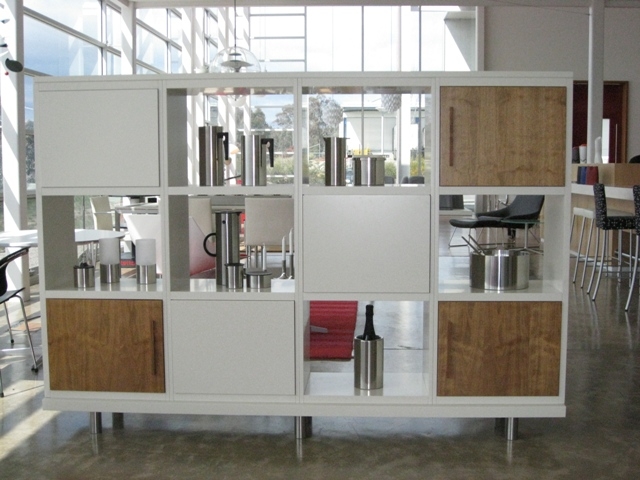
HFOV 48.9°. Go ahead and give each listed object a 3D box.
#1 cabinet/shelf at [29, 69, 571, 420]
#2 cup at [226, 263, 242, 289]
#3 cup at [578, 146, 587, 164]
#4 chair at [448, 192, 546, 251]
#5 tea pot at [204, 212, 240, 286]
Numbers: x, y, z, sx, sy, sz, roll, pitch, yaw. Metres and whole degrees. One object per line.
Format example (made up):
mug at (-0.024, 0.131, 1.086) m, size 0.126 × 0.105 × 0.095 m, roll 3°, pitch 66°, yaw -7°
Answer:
cabinet/shelf at (-0.182, 0.094, 4.735) m, size 3.090 × 2.229 × 0.851 m, roll 0°, pitch 5°, yaw 2°
cup at (-0.543, 0.234, 4.468) m, size 0.130 × 0.156 × 0.093 m, roll 1°, pitch 7°, yaw 7°
cup at (3.716, -1.221, 10.007) m, size 0.101 × 0.251 × 0.318 m, roll 0°, pitch 5°, yaw 20°
chair at (2.140, -0.293, 8.405) m, size 0.928 × 0.825 × 0.851 m, roll 2°, pitch 1°, yaw -2°
tea pot at (-0.636, 0.063, 4.612) m, size 0.239 × 0.471 × 0.145 m, roll -3°, pitch -2°, yaw 3°
